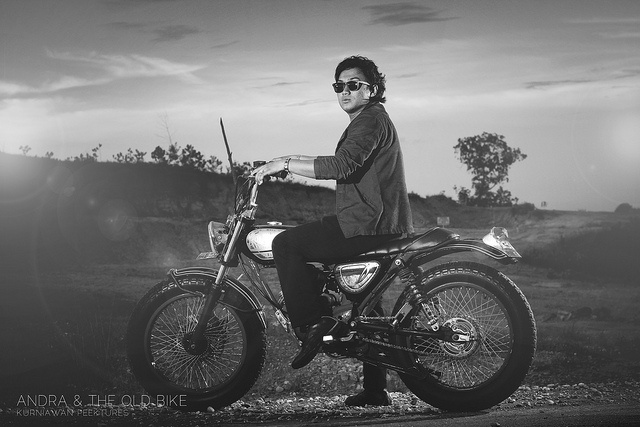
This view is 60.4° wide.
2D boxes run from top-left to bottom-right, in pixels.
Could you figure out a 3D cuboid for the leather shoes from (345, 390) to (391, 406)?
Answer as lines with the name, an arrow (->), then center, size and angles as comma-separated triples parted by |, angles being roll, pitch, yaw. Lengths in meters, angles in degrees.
leather shoes -> 0.598, 2.307, 6.935 | 0.632, 0.266, 0.216 | 2, -7, 3
